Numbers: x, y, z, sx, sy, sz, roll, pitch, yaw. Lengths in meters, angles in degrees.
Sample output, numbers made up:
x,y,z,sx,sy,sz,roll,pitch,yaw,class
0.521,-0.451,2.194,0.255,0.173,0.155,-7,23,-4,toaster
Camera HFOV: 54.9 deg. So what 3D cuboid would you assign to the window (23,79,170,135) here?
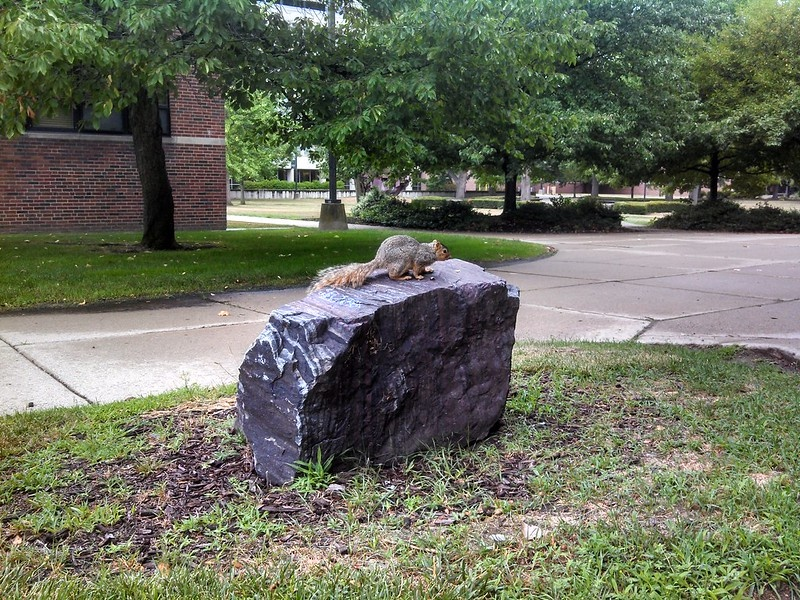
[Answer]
x,y,z,sx,sy,sz,roll,pitch,yaw,class
-8.189,-4.868,19.772,3.143,1.144,5.870,0,10,2,window
